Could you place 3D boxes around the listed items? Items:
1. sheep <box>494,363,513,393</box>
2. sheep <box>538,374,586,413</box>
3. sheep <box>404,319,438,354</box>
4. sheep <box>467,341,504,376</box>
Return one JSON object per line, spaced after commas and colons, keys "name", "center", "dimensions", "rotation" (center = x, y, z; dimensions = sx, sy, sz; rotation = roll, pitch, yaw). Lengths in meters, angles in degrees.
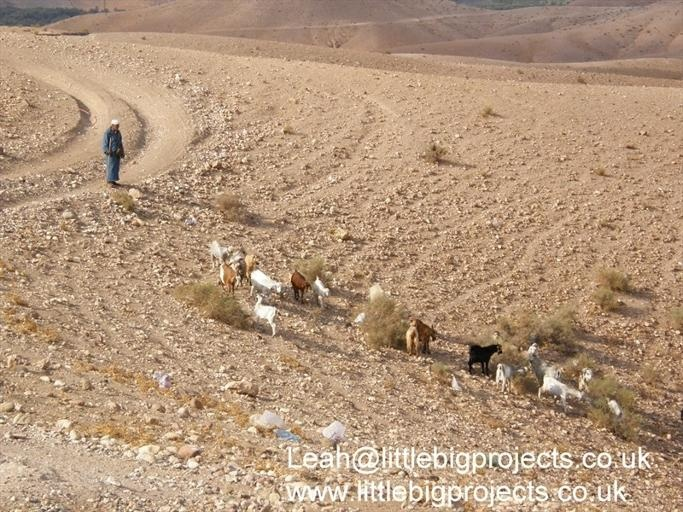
{"name": "sheep", "center": [5.460, 4.097, 34.539], "dimensions": [0.597, 0.697, 0.796], "rotation": [-3, 56, 9]}
{"name": "sheep", "center": [7.367, 4.556, 34.567], "dimensions": [1.408, 0.930, 1.002], "rotation": [19, 62, 22]}
{"name": "sheep", "center": [2.709, 2.873, 35.467], "dimensions": [1.040, 1.293, 1.007], "rotation": [-6, 56, 7]}
{"name": "sheep", "center": [4.876, 3.505, 35.040], "dimensions": [1.153, 0.852, 0.977], "rotation": [-3, 56, 9]}
